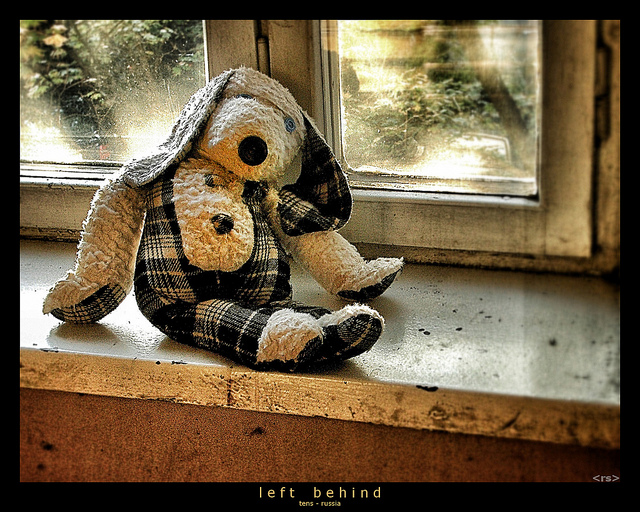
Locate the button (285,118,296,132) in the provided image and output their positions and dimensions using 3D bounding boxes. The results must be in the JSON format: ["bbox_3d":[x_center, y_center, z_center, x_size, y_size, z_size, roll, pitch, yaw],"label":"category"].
[{"bbox_3d":[-0.045,-0.201,1.033,0.004,0.019,0.018,-1,1,43],"label":"button"}]

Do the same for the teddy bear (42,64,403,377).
[{"bbox_3d":[-0.137,-0.068,1.041,0.477,0.460,0.293,5,0,3],"label":"teddy bear"}]

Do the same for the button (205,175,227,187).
[{"bbox_3d":[-0.156,-0.110,0.993,0.022,0.017,0.007,21,-22,-27],"label":"button"}]

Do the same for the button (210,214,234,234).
[{"bbox_3d":[-0.140,-0.046,0.965,0.027,0.028,0.007,6,-18,-16],"label":"button"}]
